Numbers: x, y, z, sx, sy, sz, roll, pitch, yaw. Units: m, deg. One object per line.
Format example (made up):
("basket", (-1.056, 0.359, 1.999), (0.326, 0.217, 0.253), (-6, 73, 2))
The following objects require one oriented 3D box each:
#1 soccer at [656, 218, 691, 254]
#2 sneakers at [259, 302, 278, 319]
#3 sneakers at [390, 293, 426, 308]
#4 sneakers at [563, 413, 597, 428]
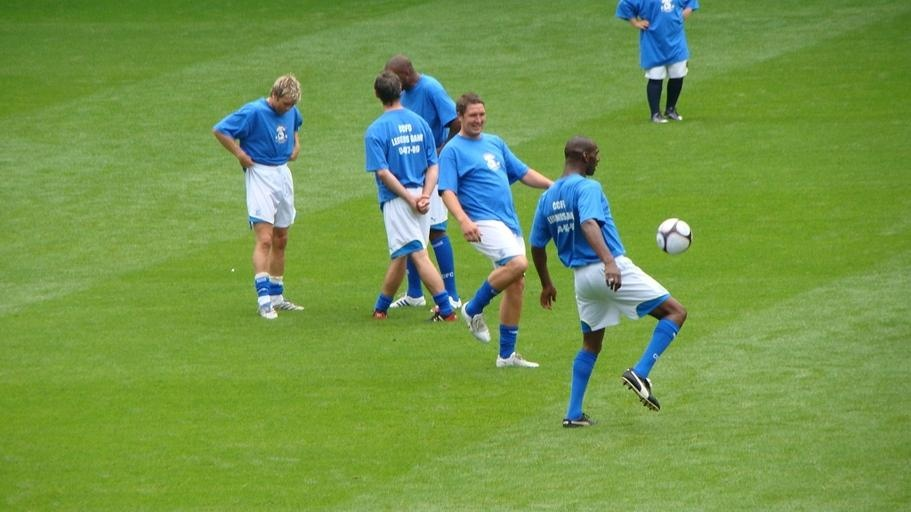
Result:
("soccer", (3.216, -0.251, 23.292), (0.593, 0.458, 0.515), (6, -15, -8))
("sneakers", (-2.858, 0.855, 24.363), (0.263, 0.258, 0.176), (-9, 19, -7))
("sneakers", (-0.728, 0.742, 25.014), (0.625, 0.201, 0.195), (0, 1, -3))
("sneakers", (1.673, 2.260, 21.688), (0.491, 0.159, 0.152), (-2, 7, -6))
